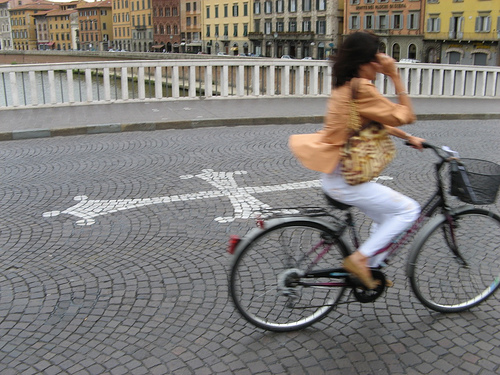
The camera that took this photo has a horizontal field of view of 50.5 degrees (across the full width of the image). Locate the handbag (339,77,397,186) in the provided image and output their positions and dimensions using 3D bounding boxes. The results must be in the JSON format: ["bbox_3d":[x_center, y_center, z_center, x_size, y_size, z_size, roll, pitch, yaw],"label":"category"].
[{"bbox_3d":[0.821,-0.384,3.668,0.358,0.740,0.354,3,23,14],"label":"handbag"}]
